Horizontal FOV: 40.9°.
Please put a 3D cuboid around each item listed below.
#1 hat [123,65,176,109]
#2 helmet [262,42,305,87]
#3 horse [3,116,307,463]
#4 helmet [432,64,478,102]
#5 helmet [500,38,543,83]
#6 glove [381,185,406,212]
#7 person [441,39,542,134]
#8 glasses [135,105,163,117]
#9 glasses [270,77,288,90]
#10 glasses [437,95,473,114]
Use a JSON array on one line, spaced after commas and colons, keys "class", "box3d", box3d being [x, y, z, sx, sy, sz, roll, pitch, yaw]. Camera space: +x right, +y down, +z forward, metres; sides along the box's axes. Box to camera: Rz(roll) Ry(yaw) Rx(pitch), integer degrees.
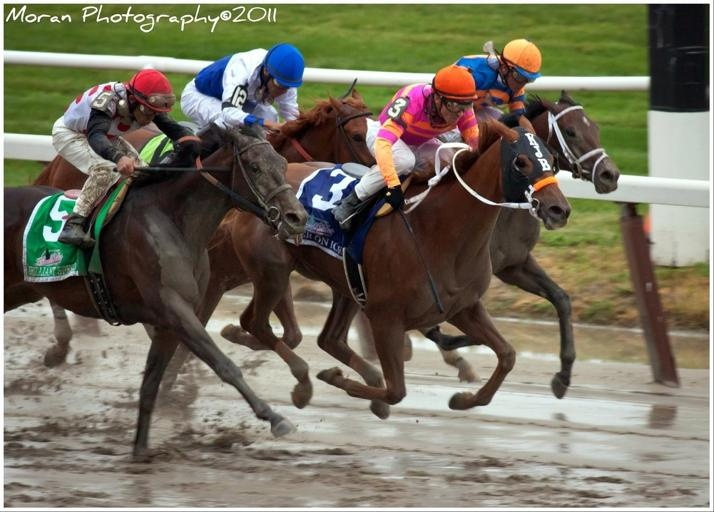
[{"class": "hat", "box3d": [-1.210, -0.989, 5.635, 0.296, 0.150, 0.212, 31, 25, 1]}, {"class": "helmet", "box3d": [-0.498, -1.265, 6.363, 0.265, 0.288, 0.172, -20, -12, -27]}, {"class": "horse", "box3d": [-1.166, 0.228, 5.668, 1.899, 1.954, 0.535, 4, 16, 18]}, {"class": "helmet", "box3d": [0.540, -1.001, 5.550, 0.204, 0.125, 0.258, -28, 43, -34]}, {"class": "helmet", "box3d": [1.063, -1.283, 6.216, 0.295, 0.159, 0.232, 42, 43, 20]}, {"class": "glove", "box3d": [0.210, -0.343, 5.598, 0.124, 0.126, 0.059, 11, 3, 15]}, {"class": "person", "box3d": [0.867, -1.159, 6.475, 0.328, 0.414, 0.977, -9, 8, -31]}, {"class": "glasses", "box3d": [-1.236, -0.852, 5.634, 0.112, 0.035, 0.071, 4, -5, 0]}, {"class": "glasses", "box3d": [-0.521, -1.142, 6.345, 0.095, 0.040, 0.070, 32, 35, 19]}, {"class": "glasses", "box3d": [0.566, -0.874, 5.528, 0.128, 0.036, 0.138, 0, 34, -14]}]
